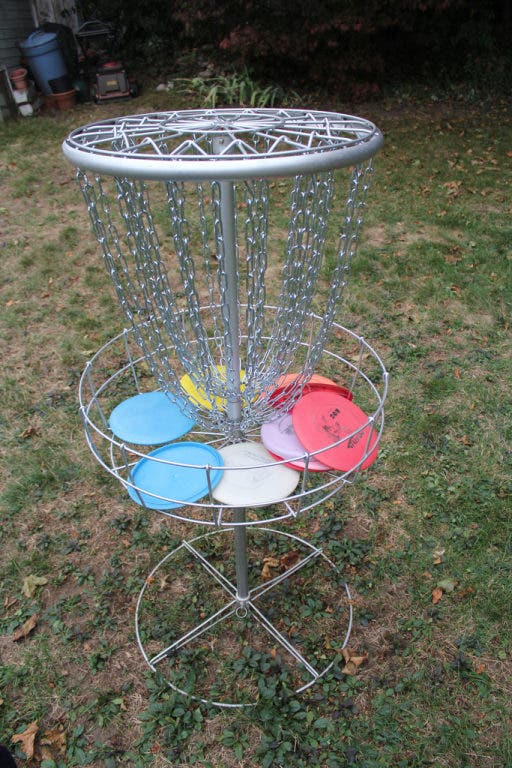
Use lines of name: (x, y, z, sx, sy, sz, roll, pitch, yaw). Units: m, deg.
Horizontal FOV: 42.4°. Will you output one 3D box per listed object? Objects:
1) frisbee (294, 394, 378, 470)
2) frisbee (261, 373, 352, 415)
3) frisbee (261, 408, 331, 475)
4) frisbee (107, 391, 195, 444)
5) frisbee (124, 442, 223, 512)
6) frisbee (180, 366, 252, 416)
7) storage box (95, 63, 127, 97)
frisbee: (0.234, 0.154, 2.016, 0.245, 0.016, 0.232, 24, 41, -6)
frisbee: (0.154, 0.032, 2.177, 0.214, 0.052, 0.122, -4, 26, -14)
frisbee: (0.107, 0.179, 2.010, 0.174, 0.038, 0.169, 16, 37, 25)
frisbee: (-0.327, 0.109, 2.077, 0.200, 0.018, 0.186, -6, 35, -15)
frisbee: (-0.236, 0.259, 1.923, 0.219, 0.021, 0.203, -3, 33, -2)
frisbee: (-0.139, -0.014, 2.104, 0.180, 0.124, 0.247, -11, 37, -10)
storage box: (-1.945, -4.074, 8.948, 0.424, 0.346, 0.207, -8, 39, -6)
